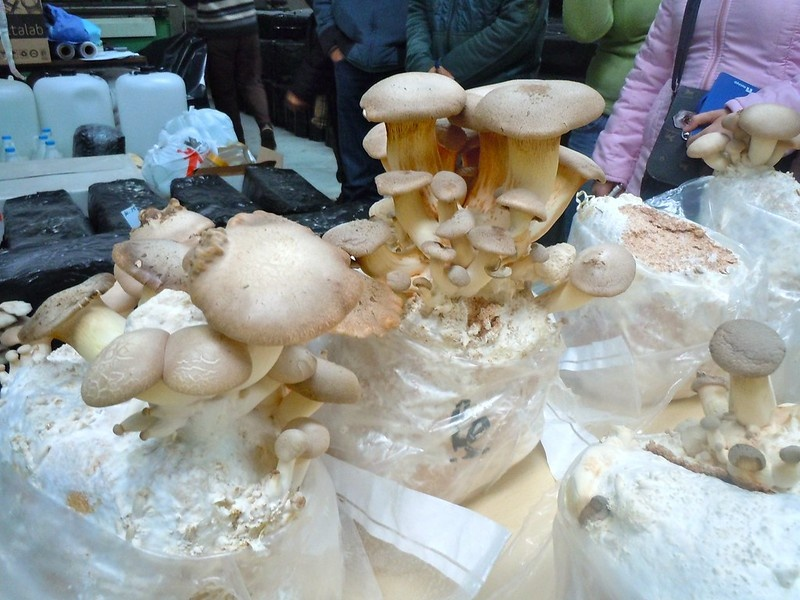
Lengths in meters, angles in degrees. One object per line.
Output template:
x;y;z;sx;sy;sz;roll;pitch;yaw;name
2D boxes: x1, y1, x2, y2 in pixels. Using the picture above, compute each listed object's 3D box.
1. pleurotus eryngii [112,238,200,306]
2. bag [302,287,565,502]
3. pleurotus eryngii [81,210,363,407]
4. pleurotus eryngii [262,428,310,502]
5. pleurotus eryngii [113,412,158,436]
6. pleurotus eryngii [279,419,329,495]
-0.402;-0.074;0.933;0.100;0.041;0.114;-18;43;-32;pleurotus eryngii
0.123;0.190;1.384;0.432;0.402;0.509;14;25;21;bag
-0.247;0.063;0.856;0.335;0.163;0.243;-27;62;-35;pleurotus eryngii
-0.182;0.265;0.928;0.040;0.109;0.051;19;54;2;pleurotus eryngii
-0.404;0.181;0.887;0.062;0.035;0.033;0;42;-2;pleurotus eryngii
-0.159;0.254;0.941;0.084;0.150;0.084;7;48;-21;pleurotus eryngii
